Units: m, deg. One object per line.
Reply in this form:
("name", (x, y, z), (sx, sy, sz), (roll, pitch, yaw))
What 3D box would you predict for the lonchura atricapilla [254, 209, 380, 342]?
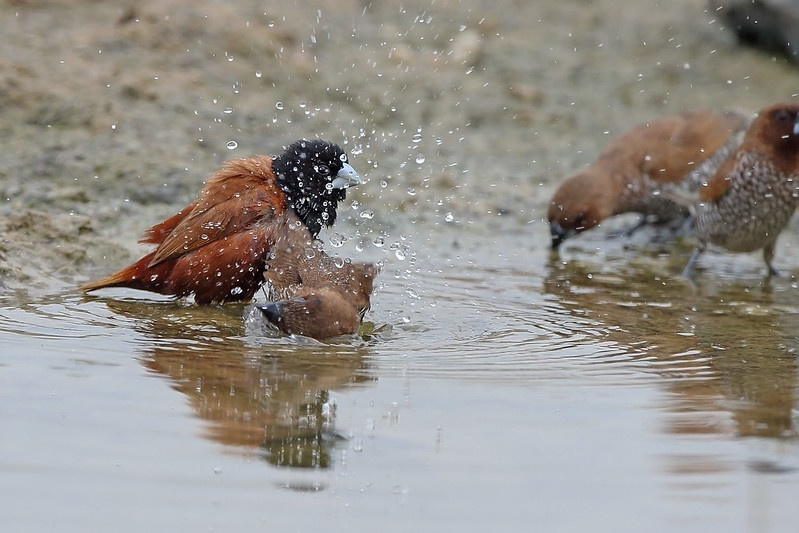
("lonchura atricapilla", (-0.624, 0.100, 5.938), (0.774, 0.471, 0.963), (7, 29, 12))
